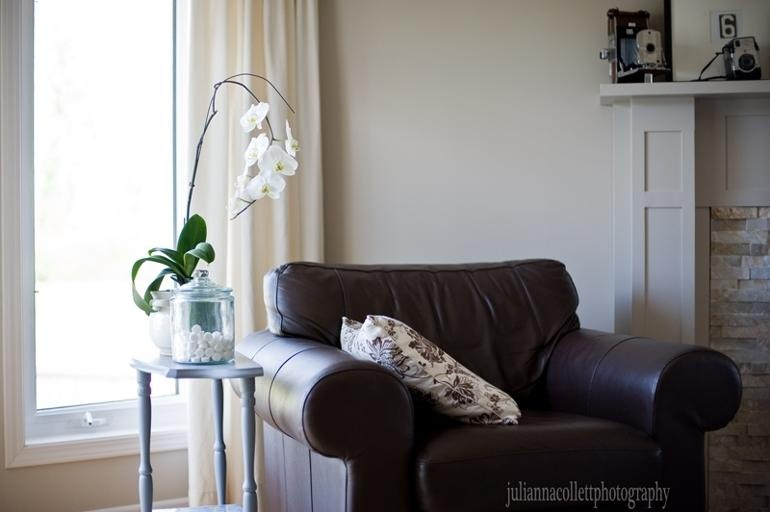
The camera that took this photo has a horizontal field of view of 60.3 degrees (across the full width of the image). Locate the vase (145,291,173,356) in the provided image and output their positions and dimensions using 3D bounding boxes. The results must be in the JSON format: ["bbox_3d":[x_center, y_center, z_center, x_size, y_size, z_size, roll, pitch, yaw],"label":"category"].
[{"bbox_3d":[-0.951,0.289,2.854,0.077,0.278,0.205,-5,5,-38],"label":"vase"}]

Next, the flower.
[{"bbox_3d":[-0.786,-0.358,3.138,0.745,1.180,0.926,-3,4,-7],"label":"flower"}]
